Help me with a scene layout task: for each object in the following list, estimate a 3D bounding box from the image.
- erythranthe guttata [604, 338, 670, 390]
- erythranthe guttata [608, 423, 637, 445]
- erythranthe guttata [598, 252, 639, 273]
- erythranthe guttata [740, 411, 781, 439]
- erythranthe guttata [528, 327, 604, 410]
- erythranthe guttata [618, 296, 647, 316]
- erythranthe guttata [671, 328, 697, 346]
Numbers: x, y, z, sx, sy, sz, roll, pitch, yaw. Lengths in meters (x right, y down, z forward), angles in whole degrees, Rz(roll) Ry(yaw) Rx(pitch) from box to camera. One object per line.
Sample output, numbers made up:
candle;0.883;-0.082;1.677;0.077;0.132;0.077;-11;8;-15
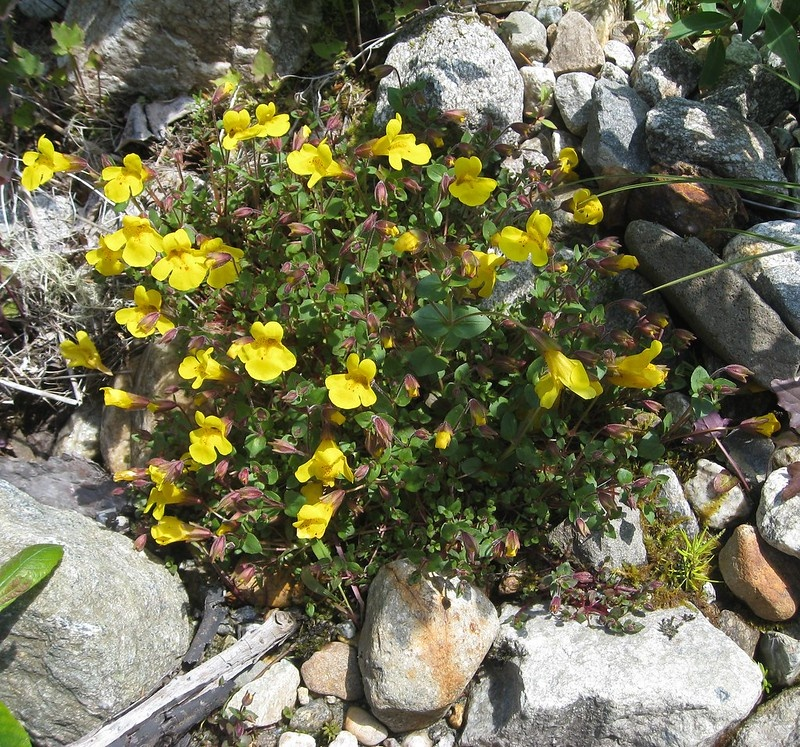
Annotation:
erythranthe guttata;1.053;-0.026;3.558;0.190;0.158;0.336;28;-18;-39
erythranthe guttata;1.079;0.291;3.802;0.156;0.078;0.159;1;-11;0
erythranthe guttata;1.076;-0.544;3.785;0.188;0.101;0.061;17;27;4
erythranthe guttata;1.848;0.284;4.014;0.181;0.108;0.208;-19;-11;-4
erythranthe guttata;0.658;-0.020;3.280;0.326;0.334;0.415;2;19;6
erythranthe guttata;1.128;-0.333;3.807;0.157;0.091;0.048;19;-27;45
erythranthe guttata;1.427;-0.181;3.897;0.056;0.084;0.145;47;12;19
